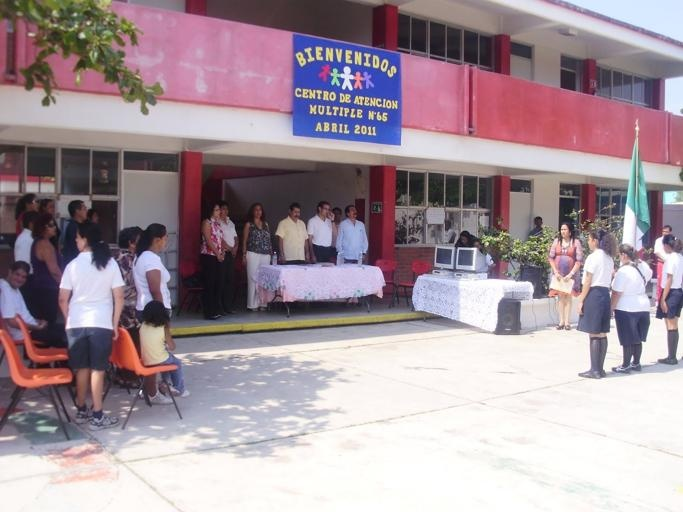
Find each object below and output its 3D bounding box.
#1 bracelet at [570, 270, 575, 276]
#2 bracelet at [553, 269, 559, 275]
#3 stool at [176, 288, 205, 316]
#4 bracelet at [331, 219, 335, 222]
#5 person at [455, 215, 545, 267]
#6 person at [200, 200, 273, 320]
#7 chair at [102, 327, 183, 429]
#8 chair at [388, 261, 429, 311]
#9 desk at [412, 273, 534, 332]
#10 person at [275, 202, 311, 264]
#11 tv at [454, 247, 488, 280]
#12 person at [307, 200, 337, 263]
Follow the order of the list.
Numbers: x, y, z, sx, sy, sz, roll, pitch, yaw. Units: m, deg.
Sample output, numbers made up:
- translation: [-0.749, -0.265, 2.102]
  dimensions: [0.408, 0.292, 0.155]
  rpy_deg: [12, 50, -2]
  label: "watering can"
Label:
- translation: [4.484, 0.333, 12.364]
  dimensions: [0.072, 0.023, 0.077]
  rpy_deg: [-13, 40, 46]
  label: "bracelet"
- translation: [4.239, 0.324, 12.499]
  dimensions: [0.071, 0.096, 0.169]
  rpy_deg: [1, 6, -7]
  label: "bracelet"
- translation: [-3.038, 0.908, 12.687]
  dimensions: [0.511, 0.792, 0.556]
  rpy_deg: [2, -8, -26]
  label: "stool"
- translation: [-0.218, -0.795, 14.233]
  dimensions: [0.054, 0.068, 0.057]
  rpy_deg: [5, 5, 33]
  label: "bracelet"
- translation: [3.621, -0.188, 13.688]
  dimensions: [1.118, 0.779, 1.207]
  rpy_deg: [2, 18, -6]
  label: "person"
- translation: [-2.214, 0.093, 12.305]
  dimensions: [0.801, 2.200, 1.527]
  rpy_deg: [4, 6, 25]
  label: "person"
- translation: [-2.133, 1.279, 7.167]
  dimensions: [0.752, 0.997, 0.809]
  rpy_deg: [1, 3, 14]
  label: "chair"
- translation: [1.679, 0.632, 15.179]
  dimensions: [0.878, 1.643, 1.034]
  rpy_deg: [2, -3, 34]
  label: "chair"
- translation: [2.486, 0.923, 12.668]
  dimensions: [0.915, 1.019, 2.118]
  rpy_deg: [-4, 8, -41]
  label: "desk"
- translation: [-1.021, -0.481, 13.129]
  dimensions: [0.666, 1.226, 0.720]
  rpy_deg: [1, 6, -3]
  label: "person"
- translation: [2.583, 0.133, 12.784]
  dimensions: [0.613, 0.682, 0.531]
  rpy_deg: [-6, 4, -40]
  label: "tv"
- translation: [-0.428, -0.499, 13.860]
  dimensions: [0.397, 1.350, 1.333]
  rpy_deg: [3, 6, 19]
  label: "person"
